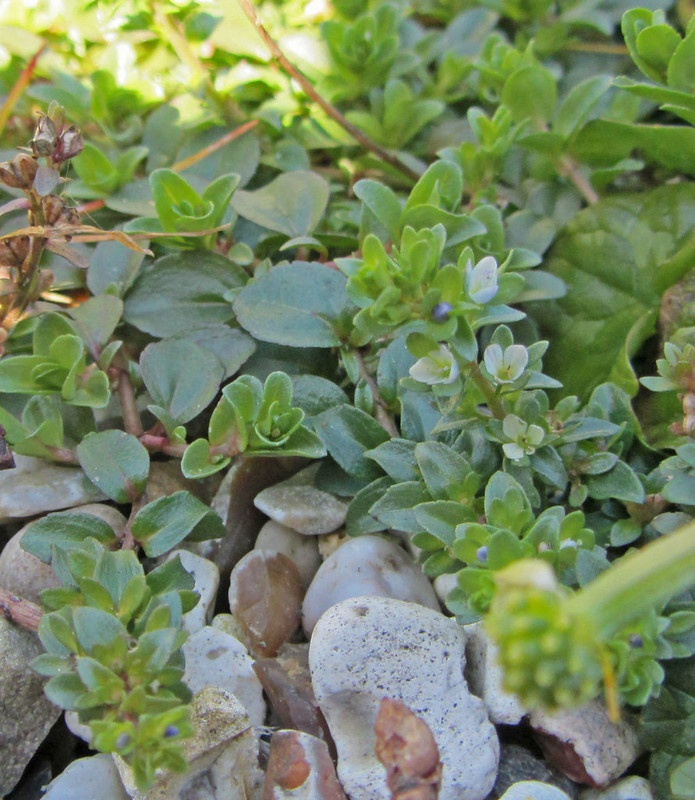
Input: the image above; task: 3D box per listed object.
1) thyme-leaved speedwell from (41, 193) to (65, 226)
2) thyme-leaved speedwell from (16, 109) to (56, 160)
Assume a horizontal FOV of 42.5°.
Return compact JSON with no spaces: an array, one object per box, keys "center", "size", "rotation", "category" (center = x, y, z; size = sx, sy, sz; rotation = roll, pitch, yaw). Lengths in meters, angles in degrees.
[{"center":[-0.427,-0.277,1.304],"size":[0.038,0.037,0.017],"rotation":[1,9,-16],"category":"thyme-leaved speedwell"},{"center":[-0.413,-0.360,1.215],"size":[0.044,0.067,0.042],"rotation":[-15,53,-13],"category":"thyme-leaved speedwell"}]
